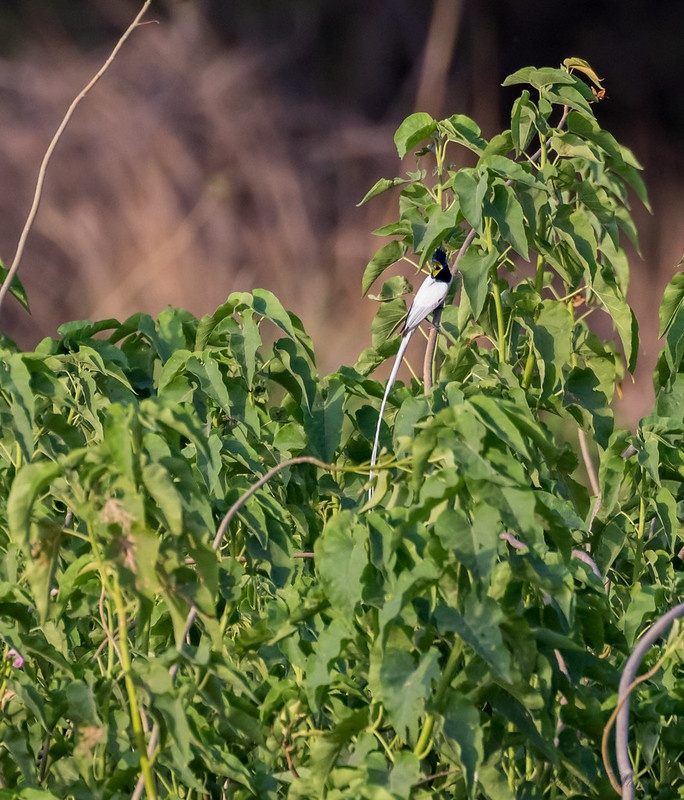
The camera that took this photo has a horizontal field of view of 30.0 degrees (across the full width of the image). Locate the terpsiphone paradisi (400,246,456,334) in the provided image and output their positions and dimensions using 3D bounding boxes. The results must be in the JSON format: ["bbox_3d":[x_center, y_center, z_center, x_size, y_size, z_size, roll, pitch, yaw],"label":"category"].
[{"bbox_3d":[0.107,-0.141,1.589,0.063,0.094,0.180,-5,12,6],"label":"terpsiphone paradisi"}]
